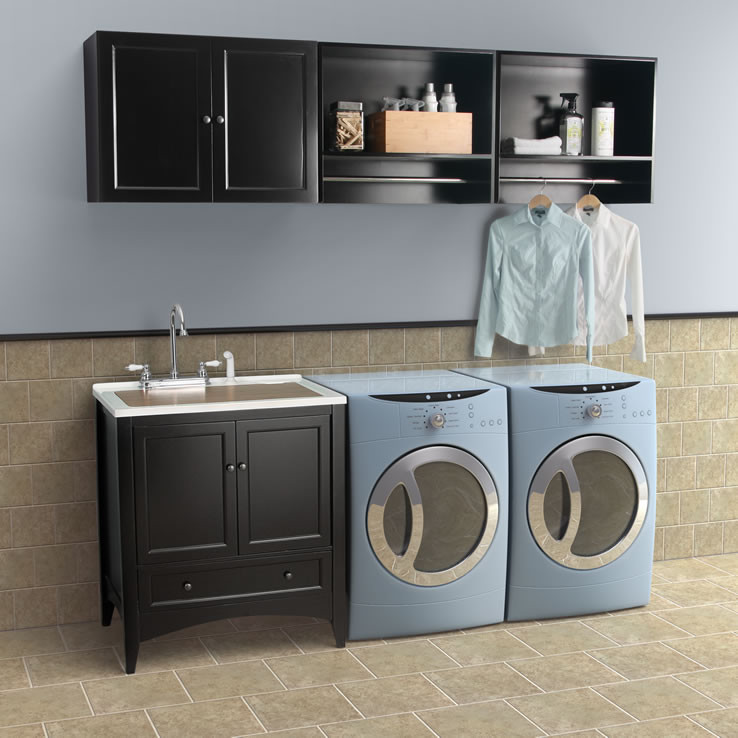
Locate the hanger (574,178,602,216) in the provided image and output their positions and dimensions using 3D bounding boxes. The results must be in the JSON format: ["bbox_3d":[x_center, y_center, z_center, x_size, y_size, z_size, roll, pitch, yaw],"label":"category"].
[{"bbox_3d":[0.994,-0.780,3.682,0.149,0.198,0.014,3,7,9],"label":"hanger"}]

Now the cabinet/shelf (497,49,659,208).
[{"bbox_3d":[0.898,-1.067,3.537,0.618,0.635,0.217,-1,11,-10],"label":"cabinet/shelf"}]

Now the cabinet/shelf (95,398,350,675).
[{"bbox_3d":[-0.511,0.513,3.032,0.807,0.899,0.549,-3,11,-18],"label":"cabinet/shelf"}]

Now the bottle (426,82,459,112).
[{"bbox_3d":[0.301,-1.115,3.327,0.153,0.160,0.074,0,-4,-5],"label":"bottle"}]

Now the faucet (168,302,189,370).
[{"bbox_3d":[-0.739,-0.108,3.128,0.071,0.292,0.259,-1,4,-13],"label":"faucet"}]

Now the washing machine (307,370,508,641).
[{"bbox_3d":[0.171,0.447,3.388,0.789,1.318,0.812,-2,5,-20],"label":"washing machine"}]

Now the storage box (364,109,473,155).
[{"bbox_3d":[0.222,-0.927,3.181,0.274,0.146,0.212,0,3,-11],"label":"storage box"}]

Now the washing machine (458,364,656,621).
[{"bbox_3d":[0.833,0.472,3.598,0.777,1.283,0.834,-2,3,-19],"label":"washing machine"}]

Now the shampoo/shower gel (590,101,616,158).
[{"bbox_3d":[1.014,-1.037,3.522,0.103,0.261,0.208,1,4,16],"label":"shampoo/shower gel"}]
